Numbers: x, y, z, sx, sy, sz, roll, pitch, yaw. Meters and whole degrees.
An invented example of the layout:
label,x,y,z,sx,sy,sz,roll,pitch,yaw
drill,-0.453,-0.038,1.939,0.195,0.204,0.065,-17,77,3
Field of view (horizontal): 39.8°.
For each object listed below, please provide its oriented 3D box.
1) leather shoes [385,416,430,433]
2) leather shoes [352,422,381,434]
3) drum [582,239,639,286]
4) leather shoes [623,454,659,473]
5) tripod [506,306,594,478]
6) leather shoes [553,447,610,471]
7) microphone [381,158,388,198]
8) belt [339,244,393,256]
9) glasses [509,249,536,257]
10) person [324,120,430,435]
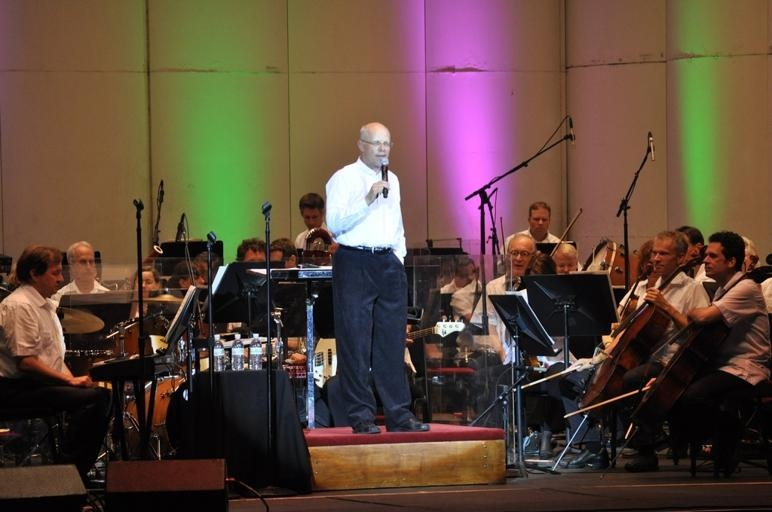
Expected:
label,x,y,z,sx,sy,sz,roll,pitch,yaw
leather shoes,0.198,1.545,9.868,0.400,0.195,0.157,-1,-7,-3
leather shoes,-0.165,1.560,9.760,0.214,0.105,0.108,-8,-10,28
drum,2.800,0.020,13.490,0.751,0.784,0.652,-1,18,3
leather shoes,2.509,2.021,10.490,0.287,0.223,0.157,3,-14,-1
tripod,1.612,1.307,10.685,0.675,1.825,0.691,2,3,0
leather shoes,1.963,2.008,10.720,0.517,0.237,0.240,0,-12,8
microphone,-0.013,-0.683,9.647,0.059,0.340,0.209,-1,-3,-2
belt,-0.190,-0.054,9.776,0.464,0.108,0.088,-1,-3,-10
glasses,1.519,-0.019,11.808,0.165,0.050,0.176,5,-5,-33
person,-0.141,0.207,9.785,0.789,2.776,0.455,-1,-3,-3
